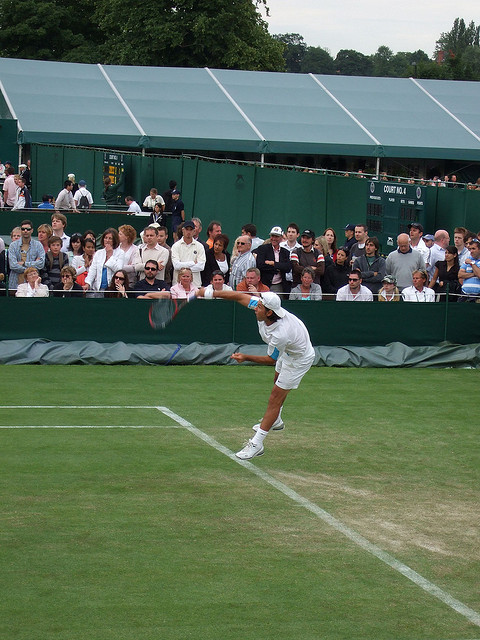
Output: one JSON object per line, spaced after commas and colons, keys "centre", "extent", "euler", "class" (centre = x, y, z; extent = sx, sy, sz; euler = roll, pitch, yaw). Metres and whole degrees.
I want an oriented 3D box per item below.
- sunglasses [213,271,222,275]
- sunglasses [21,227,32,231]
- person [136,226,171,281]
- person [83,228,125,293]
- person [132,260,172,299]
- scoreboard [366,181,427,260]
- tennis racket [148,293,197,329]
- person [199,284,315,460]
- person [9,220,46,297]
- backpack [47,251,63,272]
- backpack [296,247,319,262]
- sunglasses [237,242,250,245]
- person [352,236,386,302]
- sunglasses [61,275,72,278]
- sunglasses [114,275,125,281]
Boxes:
{"centre": [-0.303, -0.671, 14.761], "extent": [0.104, 0.024, 0.099], "euler": [0, 0, -34], "class": "sunglasses"}
{"centre": [-3.203, -1.379, 15.786], "extent": [0.140, 0.051, 0.181], "euler": [0, 8, -14], "class": "sunglasses"}
{"centre": [-1.322, -0.801, 16.045], "extent": [0.582, 1.202, 0.408], "euler": [2, 7, 8], "class": "person"}
{"centre": [-2.034, -0.903, 15.895], "extent": [0.663, 0.989, 0.480], "euler": [9, 11, 38], "class": "person"}
{"centre": [-1.319, -0.620, 15.838], "extent": [0.529, 0.617, 0.900], "euler": [0, 8, -16], "class": "person"}
{"centre": [3.366, -2.183, 22.790], "extent": [0.264, 1.516, 1.709], "euler": [-11, 18, -35], "class": "scoreboard"}
{"centre": [-1.088, -0.100, 15.633], "extent": [0.460, 0.585, 0.874], "euler": [1, 8, -11], "class": "tennis racket"}
{"centre": [0.241, 0.525, 10.473], "extent": [0.968, 1.743, 1.314], "euler": [3, 8, 2], "class": "person"}
{"centre": [-3.221, -0.929, 15.933], "extent": [0.526, 1.143, 0.697], "euler": [1, 8, -11], "class": "person"}
{"centre": [-2.849, -0.925, 16.446], "extent": [0.376, 0.355, 0.283], "euler": [0, 3, -9], "class": "backpack"}
{"centre": [1.092, -1.061, 16.721], "extent": [0.218, 0.268, 0.267], "euler": [-1, 3, 7], "class": "backpack"}
{"centre": [0.067, -1.124, 15.274], "extent": [0.164, 0.030, 0.131], "euler": [2, 8, -1], "class": "sunglasses"}
{"centre": [2.060, -0.638, 16.720], "extent": [0.612, 1.357, 0.479], "euler": [4, 17, 16], "class": "person"}
{"centre": [-2.642, -0.669, 15.900], "extent": [0.215, 0.055, 0.086], "euler": [8, 10, 36], "class": "sunglasses"}
{"centre": [-1.811, -0.643, 15.842], "extent": [0.143, 0.087, 0.108], "euler": [1, 8, -9], "class": "sunglasses"}
